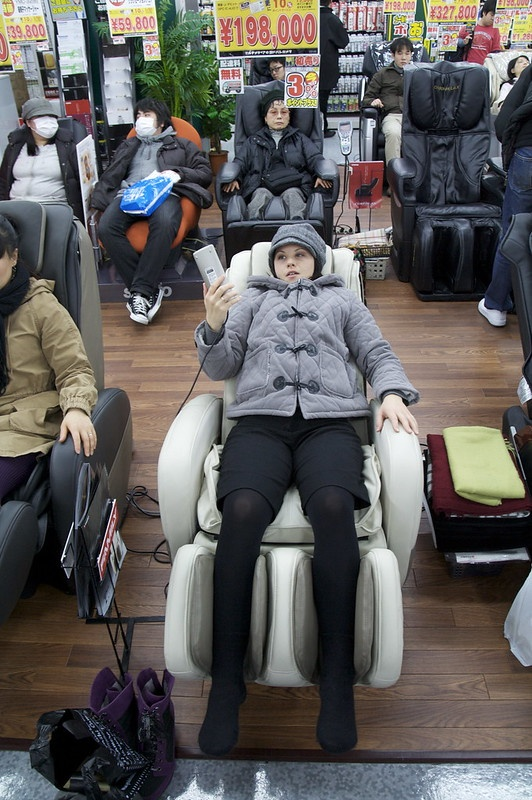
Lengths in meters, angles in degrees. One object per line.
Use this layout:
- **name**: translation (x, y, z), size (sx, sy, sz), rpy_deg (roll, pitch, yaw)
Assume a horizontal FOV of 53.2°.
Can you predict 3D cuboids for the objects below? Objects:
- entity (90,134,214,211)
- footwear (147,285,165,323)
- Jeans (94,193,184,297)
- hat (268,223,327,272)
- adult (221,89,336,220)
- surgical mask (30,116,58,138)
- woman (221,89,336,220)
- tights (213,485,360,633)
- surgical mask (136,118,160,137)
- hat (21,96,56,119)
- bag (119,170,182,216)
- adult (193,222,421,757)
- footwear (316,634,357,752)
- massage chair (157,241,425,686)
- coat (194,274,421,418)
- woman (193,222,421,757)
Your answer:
- **entity**: translation (-0.760, -1.594, 3.496), size (0.723, 0.335, 0.587), rpy_deg (-1, 49, 13)
- **footwear**: translation (-0.712, -0.611, 3.400), size (0.072, 0.241, 0.089), rpy_deg (8, 2, 14)
- **Jeans**: translation (-0.740, -0.998, 3.517), size (0.536, 0.770, 0.619), rpy_deg (2, 31, 6)
- **hat**: translation (0.110, -0.509, 1.718), size (0.119, 0.184, 0.106), rpy_deg (4, 69, 12)
- **adult**: translation (0.075, -1.730, 3.880), size (0.797, 1.134, 0.920), rpy_deg (0, 29, 4)
- **surgical mask**: translation (-1.493, -1.837, 3.594), size (0.122, 0.109, 0.145), rpy_deg (-13, 40, -20)
- **woman**: translation (0.075, -1.770, 3.917), size (0.797, 1.134, 0.920), rpy_deg (0, 29, 4)
- **tights**: translation (0.043, 0.341, 1.134), size (0.303, 0.187, 0.248), rpy_deg (-2, 32, 1)
- **surgical mask**: translation (-0.798, -1.803, 3.567), size (0.101, 0.088, 0.112), rpy_deg (10, -5, 20)
- **hat**: translation (-1.558, -1.943, 3.610), size (0.148, 0.107, 0.197), rpy_deg (-16, 24, -25)
- **bag**: translation (-0.700, -1.295, 3.310), size (0.231, 0.155, 0.397), rpy_deg (27, 58, 20)
- **adult**: translation (0.064, 0.128, 1.424), size (0.551, 0.704, 1.298), rpy_deg (0, 42, 4)
- **footwear**: translation (0.151, 0.562, 1.064), size (0.067, 0.067, 0.223), rpy_deg (20, 41, -5)
- **massage chair**: translation (0.023, 0.127, 1.321), size (0.501, 0.769, 0.803), rpy_deg (1, 27, 4)
- **coat**: translation (0.123, -0.095, 1.525), size (0.577, 0.472, 0.413), rpy_deg (-2, -8, -2)
- **woman**: translation (0.071, 0.113, 1.413), size (0.551, 0.704, 1.298), rpy_deg (0, 42, 4)
